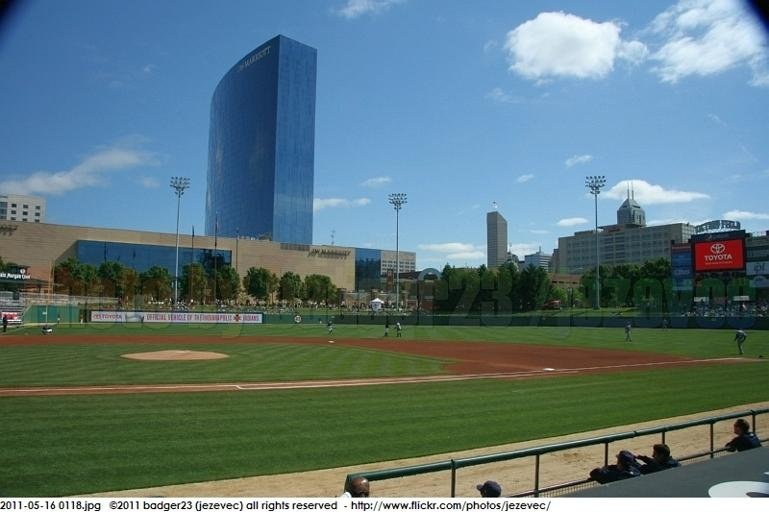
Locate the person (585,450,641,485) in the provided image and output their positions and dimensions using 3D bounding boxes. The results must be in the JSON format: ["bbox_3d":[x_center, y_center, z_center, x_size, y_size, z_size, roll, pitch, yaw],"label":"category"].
[{"bbox_3d":[7.499,6.951,22.015,1.452,0.604,1.085,-17,-7,19],"label":"person"}]

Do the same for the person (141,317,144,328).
[{"bbox_3d":[-23.080,6.199,64.423,0.293,0.930,0.457,2,-6,-20],"label":"person"}]

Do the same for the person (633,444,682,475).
[{"bbox_3d":[8.901,6.560,21.929,1.365,0.863,1.017,5,-7,-44],"label":"person"}]

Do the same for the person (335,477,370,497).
[{"bbox_3d":[-0.788,6.931,20.068,0.570,0.728,0.719,18,-29,-22],"label":"person"}]

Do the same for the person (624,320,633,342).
[{"bbox_3d":[20.200,6.281,55.656,0.475,1.452,2.796,-2,-5,19],"label":"person"}]

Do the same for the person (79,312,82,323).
[{"bbox_3d":[-32.709,6.607,72.945,0.296,0.884,2.056,2,-6,-25],"label":"person"}]
